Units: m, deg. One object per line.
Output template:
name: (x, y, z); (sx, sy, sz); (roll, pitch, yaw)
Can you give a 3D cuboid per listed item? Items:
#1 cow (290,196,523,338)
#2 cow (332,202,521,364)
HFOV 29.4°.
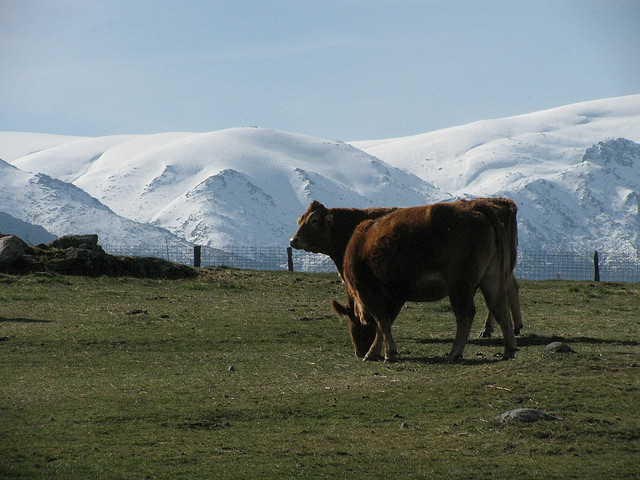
cow: (1.718, 0.592, 24.060); (5.270, 2.786, 1.482); (2, 14, 44)
cow: (1.701, 0.850, 23.831); (4.512, 3.052, 1.894); (-2, -3, 37)
